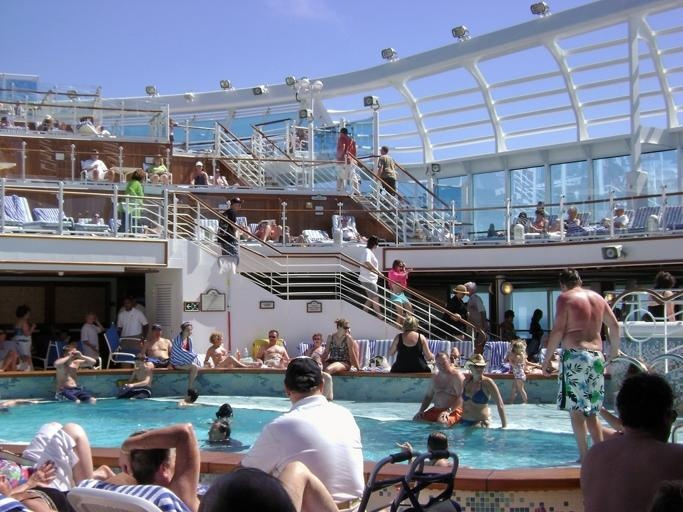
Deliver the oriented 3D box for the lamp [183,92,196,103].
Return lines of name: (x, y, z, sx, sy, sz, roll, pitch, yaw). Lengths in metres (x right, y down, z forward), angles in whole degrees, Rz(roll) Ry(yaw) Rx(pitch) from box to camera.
lamp: (-5.189, -5.490, 30.751, 0.298, 0.218, 0.304, -2, 4, -17)

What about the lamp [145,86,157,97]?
lamp: (-6.630, -5.833, 31.480, 0.398, 0.432, 0.105, 5, 24, 9)

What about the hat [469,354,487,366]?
hat: (2.320, 1.787, 15.053, 0.343, 0.220, 0.224, 3, -4, -33)

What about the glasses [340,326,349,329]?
glasses: (0.094, 1.443, 17.848, 0.074, 0.068, 0.202, -2, -5, 34)

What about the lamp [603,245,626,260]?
lamp: (6.098, -0.083, 20.014, 0.486, 0.316, 0.284, 0, -4, 16)

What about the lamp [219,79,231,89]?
lamp: (-3.953, -5.929, 30.663, 0.292, 0.314, 0.269, -7, 16, -14)

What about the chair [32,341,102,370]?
chair: (-6.109, 2.249, 19.979, 0.928, 0.929, 0.702, 2, -4, -44)

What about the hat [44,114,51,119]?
hat: (-7.792, -3.738, 23.791, 0.104, 0.113, 0.094, -4, 5, -2)

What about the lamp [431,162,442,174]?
lamp: (2.992, -2.659, 28.022, 0.330, 0.492, 0.667, 0, -2, 9)

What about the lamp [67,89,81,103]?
lamp: (-7.165, -4.330, 23.952, 0.293, 0.305, 0.220, -1, 4, -16)

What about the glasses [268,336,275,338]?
glasses: (-1.506, 1.784, 19.519, 0.158, 0.050, 0.141, 0, -4, 14)

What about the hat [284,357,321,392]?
hat: (-0.422, 1.321, 9.981, 0.453, 0.361, 0.769, 1, -2, -3)

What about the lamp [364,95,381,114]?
lamp: (0.895, -4.554, 26.632, 0.534, 0.572, 0.446, -3, 2, -40)

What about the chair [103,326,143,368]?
chair: (-4.921, 2.077, 20.366, 0.780, 1.181, 0.841, 2, 15, 3)

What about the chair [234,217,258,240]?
chair: (-2.418, -0.697, 22.563, 0.640, 0.834, 0.637, 1, 1, -2)

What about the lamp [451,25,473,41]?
lamp: (3.527, -6.702, 26.637, 0.579, 0.469, 0.569, -1, -4, 28)

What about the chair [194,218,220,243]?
chair: (-3.302, -0.638, 21.635, 0.508, 0.632, 0.635, 10, 12, 40)

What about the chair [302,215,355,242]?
chair: (-0.212, -0.660, 23.194, 1.072, 0.548, 0.759, 0, 4, -31)
